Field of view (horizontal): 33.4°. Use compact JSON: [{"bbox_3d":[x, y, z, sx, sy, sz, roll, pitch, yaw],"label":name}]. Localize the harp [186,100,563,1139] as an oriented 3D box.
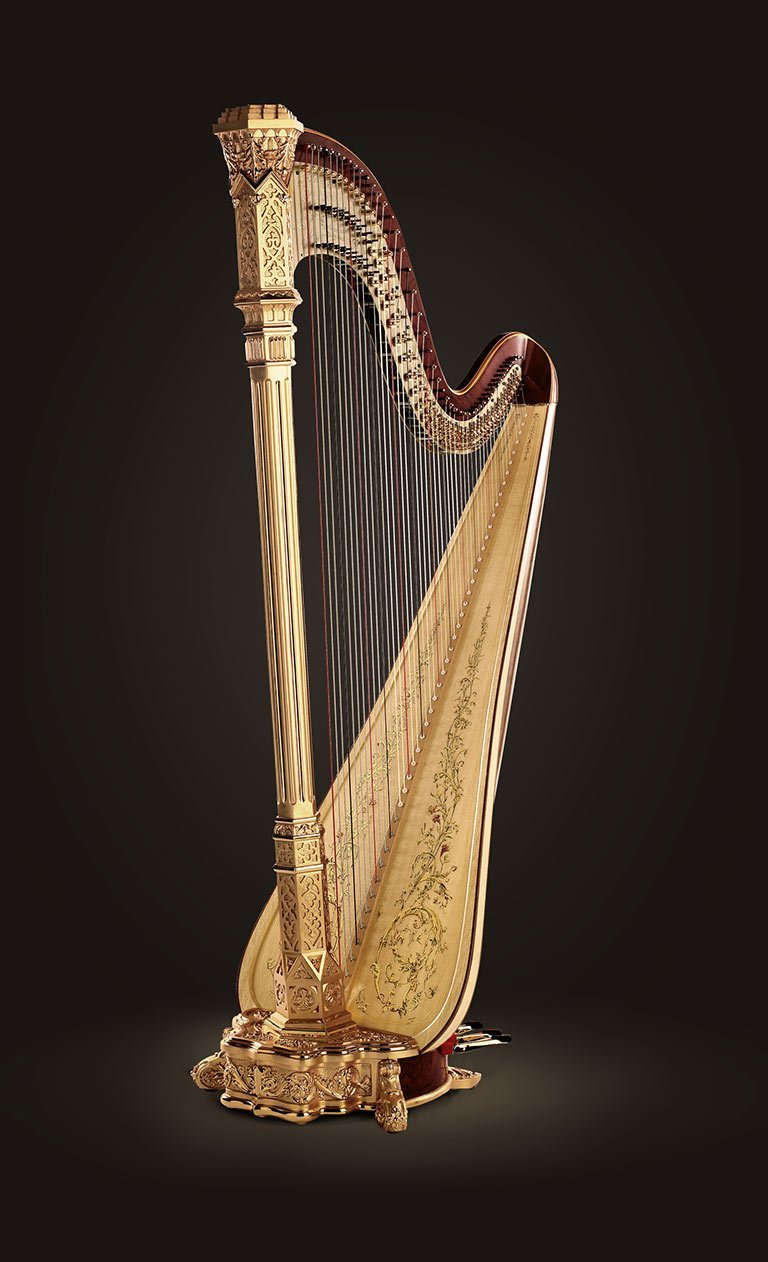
[{"bbox_3d":[-0.007,0.033,2.948,0.735,2.047,1.319,0,1,7],"label":"harp"}]
